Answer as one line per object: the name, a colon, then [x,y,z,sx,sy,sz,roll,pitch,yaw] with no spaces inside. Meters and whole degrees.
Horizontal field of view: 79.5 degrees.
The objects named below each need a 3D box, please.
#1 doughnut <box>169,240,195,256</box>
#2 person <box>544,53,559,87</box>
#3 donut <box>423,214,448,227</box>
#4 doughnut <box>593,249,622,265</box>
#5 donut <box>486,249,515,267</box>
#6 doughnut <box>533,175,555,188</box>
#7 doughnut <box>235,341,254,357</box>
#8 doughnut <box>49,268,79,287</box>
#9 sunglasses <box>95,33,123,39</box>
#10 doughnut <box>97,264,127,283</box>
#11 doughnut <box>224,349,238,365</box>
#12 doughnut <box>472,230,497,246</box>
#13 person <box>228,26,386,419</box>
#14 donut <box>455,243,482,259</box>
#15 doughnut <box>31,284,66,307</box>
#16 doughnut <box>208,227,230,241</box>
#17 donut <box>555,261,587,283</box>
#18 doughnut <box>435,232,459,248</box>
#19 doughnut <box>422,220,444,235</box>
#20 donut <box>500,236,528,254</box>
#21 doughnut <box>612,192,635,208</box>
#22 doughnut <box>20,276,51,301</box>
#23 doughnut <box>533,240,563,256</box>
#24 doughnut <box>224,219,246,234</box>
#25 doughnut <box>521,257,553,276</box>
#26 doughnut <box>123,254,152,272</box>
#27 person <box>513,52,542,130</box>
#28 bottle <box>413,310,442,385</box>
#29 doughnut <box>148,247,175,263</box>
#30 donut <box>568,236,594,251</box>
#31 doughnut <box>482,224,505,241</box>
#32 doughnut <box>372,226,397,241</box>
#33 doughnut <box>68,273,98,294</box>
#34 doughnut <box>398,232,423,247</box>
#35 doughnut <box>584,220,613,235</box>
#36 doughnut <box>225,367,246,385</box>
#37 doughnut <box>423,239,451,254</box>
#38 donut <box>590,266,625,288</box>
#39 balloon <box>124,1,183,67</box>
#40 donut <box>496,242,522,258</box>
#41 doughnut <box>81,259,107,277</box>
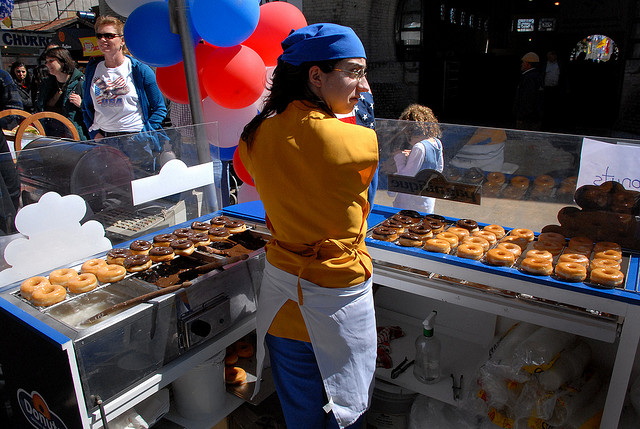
doughnut: [-0.819,0.199,2.278,0.144,0.064,0.098,-5,21,-9]
person: [5.529,-3.412,9.126,0.282,0.735,0.835,9,23,27]
donut: [0.762,0.042,2.539,0.152,0.038,0.133,4,21,15]
doughnut: [1.553,0.225,2.069,0.078,0.027,0.081,-5,7,-7]
donut: [0.988,0.238,2.107,0.116,0.054,0.121,-19,27,-38]
doughnut: [1.359,-0.197,2.323,0.079,0.028,0.074,-14,26,-18]
doughnut: [-0.516,0.907,2.576,0.130,0.053,0.094,12,25,32]
doughnut: [-1.340,0.310,1.996,0.096,0.038,0.098,2,19,-1]
sunglasses: [-2.074,-1.719,3.717,0.182,0.053,0.030,-2,21,-2]
doughnut: [-1.093,0.306,2.004,0.095,0.036,0.096,3,19,2]
doughnut: [-0.583,0.932,2.517,0.081,0.063,0.121,-7,21,-15]
doughnut: [1.003,0.149,2.334,0.089,0.034,0.090,-3,14,2]
person: [-0.029,0.101,1.712,0.586,1.732,0.541,-3,21,-2]
donut: [0.850,0.207,2.208,0.149,0.051,0.126,8,22,23]
doughnut: [-1.309,0.386,1.854,0.102,0.041,0.104,11,19,19]
doughnut: [-0.645,0.124,2.446,0.131,0.054,0.118,-7,21,-15]
donut: [1.275,0.290,1.955,0.106,0.035,0.102,-8,22,-11]
doughnut: [0.780,0.142,2.308,0.096,0.034,0.097,-15,23,-32]
doughnut: [0.731,0.074,2.432,0.092,0.034,0.091,-6,16,-9]
donut: [1.169,0.174,2.287,0.095,0.035,0.095,-5,9,-13]
doughnut: [1.680,-0.075,2.111,0.081,0.084,0.020,13,6,23]
doughnut: [-1.429,0.354,1.929,0.108,0.041,0.109,1,20,3]
doughnut: [1.313,0.183,2.201,0.105,0.036,0.101,-7,17,-7]
doughnut: [-0.558,0.082,2.517,0.135,0.045,0.145,-8,21,-16]
doughnut: [1.144,0.270,2.020,0.148,0.058,0.099,10,23,27]
doughnut: [-1.011,0.268,2.122,0.131,0.054,0.117,-18,26,-38]
person: [4.262,-2.388,7.761,0.486,1.567,1.985,9,23,28]
bottle: [0.705,0.870,2.514,0.175,0.424,0.179,-2,8,0]
doughnut: [-0.915,0.228,2.211,0.139,0.060,0.093,-5,21,-9]
donut: [1.513,0.164,2.218,0.115,0.035,0.146,15,26,37]
doughnut: [1.105,0.104,2.419,0.092,0.035,0.092,-12,23,-14]
doughnut: [0.405,0.125,2.404,0.142,0.048,0.124,14,26,36]
doughnut: [-1.197,0.344,1.930,0.089,0.034,0.090,11,21,25]
doughnut: [0.547,0.147,2.336,0.156,0.064,0.093,6,22,19]
doughnut: [1.610,0.070,2.229,0.071,0.017,0.065,-12,30,-12]
doughnut: [-0.526,0.995,2.382,0.123,0.055,0.095,-5,21,-9]
doughnut: [0.691,0.177,2.235,0.090,0.036,0.096,5,14,24]
donut: [1.428,0.309,1.919,0.134,0.057,0.131,8,23,24]
balloon: [-1.199,-1.299,2.775,0.459,0.429,0.161,3,21,12]
donut: [1.093,0.193,2.199,0.090,0.032,0.093,-8,12,-20]
doughnut: [-1.240,0.278,2.096,0.090,0.037,0.090,1,20,-4]
